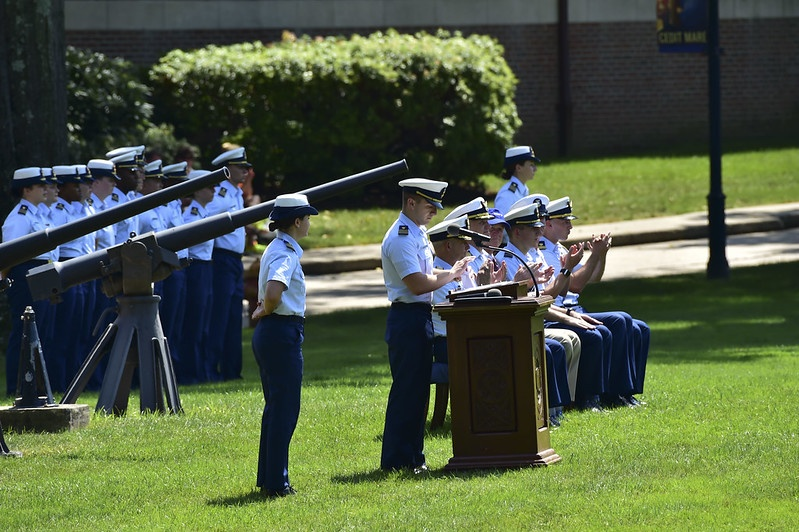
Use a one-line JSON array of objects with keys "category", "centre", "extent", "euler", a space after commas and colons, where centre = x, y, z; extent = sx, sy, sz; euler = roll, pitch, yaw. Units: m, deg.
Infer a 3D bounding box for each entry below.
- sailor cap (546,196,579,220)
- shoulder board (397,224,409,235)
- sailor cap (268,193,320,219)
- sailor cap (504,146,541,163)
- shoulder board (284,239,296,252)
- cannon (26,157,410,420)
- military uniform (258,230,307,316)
[{"category": "sailor cap", "centre": [2.534, -0.953, 35.835], "extent": [0.393, 0.266, 0.322], "euler": [2, 6, 33]}, {"category": "shoulder board", "centre": [0.043, -0.556, 33.594], "extent": [0.155, 0.152, 0.083], "euler": [-3, 4, -2]}, {"category": "sailor cap", "centre": [-1.611, -0.881, 33.012], "extent": [0.495, 0.243, 0.407], "euler": [-9, 0, 13]}, {"category": "sailor cap", "centre": [1.985, -1.903, 37.813], "extent": [0.422, 0.181, 0.313], "euler": [3, 3, 12]}, {"category": "shoulder board", "centre": [-1.620, -0.324, 32.869], "extent": [0.140, 0.037, 0.141], "euler": [42, 10, -31]}, {"category": "cannon", "centre": [-2.965, 0.425, 35.695], "extent": [5.539, 3.583, 2.226], "euler": [-5, -14, 3]}, {"category": "military uniform", "centre": [-1.716, 0.076, 33.153], "extent": [0.678, 1.291, 1.434], "euler": [3, 3, -8]}]
